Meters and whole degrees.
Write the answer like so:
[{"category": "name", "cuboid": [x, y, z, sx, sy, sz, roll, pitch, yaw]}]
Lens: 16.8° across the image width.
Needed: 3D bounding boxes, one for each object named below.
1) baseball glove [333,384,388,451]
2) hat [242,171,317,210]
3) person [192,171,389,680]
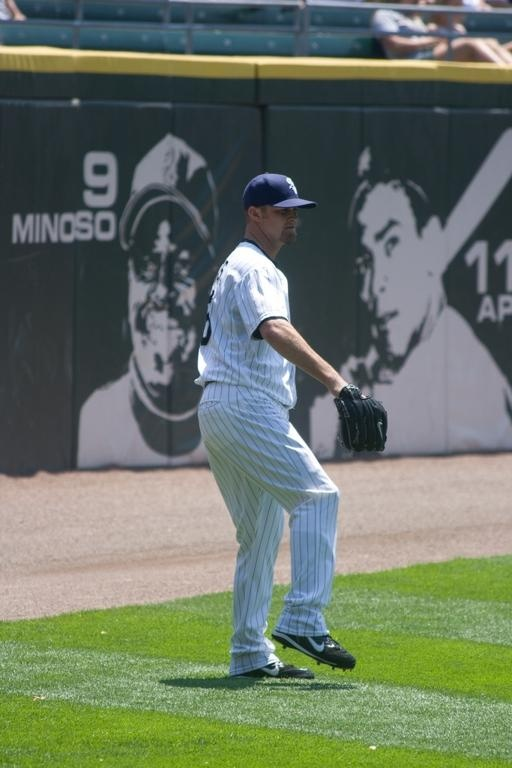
[{"category": "baseball glove", "cuboid": [0.384, 0.127, 6.316, 0.167, 0.286, 0.134, 5, -23, -33]}, {"category": "hat", "cuboid": [0.076, -0.711, 6.470, 0.192, 0.133, 0.144, -5, 8, 11]}, {"category": "person", "cuboid": [0.110, 0.140, 6.309, 0.672, 1.450, 0.392, 2, 1, 4]}]
